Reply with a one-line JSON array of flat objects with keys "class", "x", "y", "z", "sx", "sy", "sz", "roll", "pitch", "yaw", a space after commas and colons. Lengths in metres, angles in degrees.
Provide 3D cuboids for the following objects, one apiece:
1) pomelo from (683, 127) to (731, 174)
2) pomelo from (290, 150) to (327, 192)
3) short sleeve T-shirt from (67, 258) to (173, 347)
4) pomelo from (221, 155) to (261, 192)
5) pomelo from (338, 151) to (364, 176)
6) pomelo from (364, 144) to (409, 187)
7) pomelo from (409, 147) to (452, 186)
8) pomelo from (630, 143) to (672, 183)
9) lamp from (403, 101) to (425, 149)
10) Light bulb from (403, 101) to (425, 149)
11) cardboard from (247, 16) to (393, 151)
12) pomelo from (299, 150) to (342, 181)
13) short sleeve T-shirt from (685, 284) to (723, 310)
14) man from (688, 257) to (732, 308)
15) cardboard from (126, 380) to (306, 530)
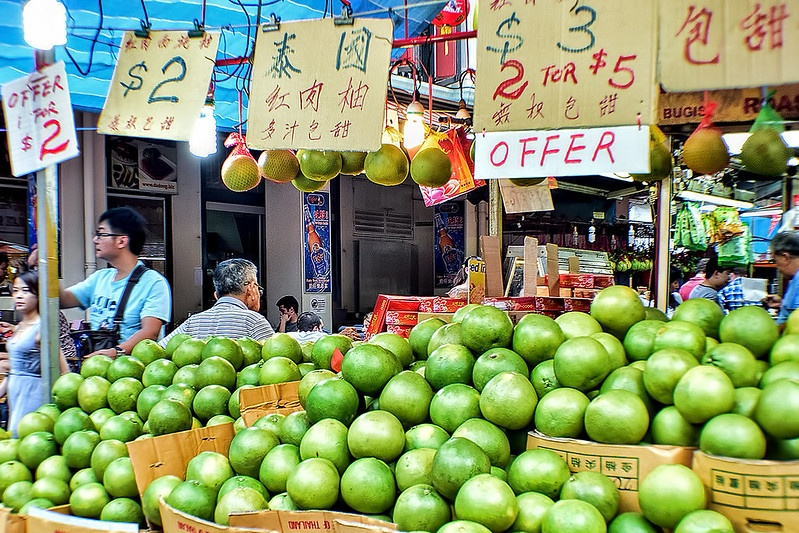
[{"class": "pomelo", "x": 1.806, "y": -0.674, "z": 3.785, "sx": 0.259, "sy": 0.332, "sz": 0.272, "roll": 0, "pitch": 7, "yaw": 17}, {"class": "pomelo", "x": -0.635, "y": -0.645, "z": 4.489, "sx": 0.241, "sy": 0.297, "sz": 0.241, "roll": -16, "pitch": 26, "yaw": -41}, {"class": "short sleeve T-shirt", "x": -2.187, "y": 0.268, "z": 4.868, "sx": 0.796, "sy": 0.800, "sz": 0.448, "roll": 1, "pitch": -13, "yaw": 20}, {"class": "pomelo", "x": -1.127, "y": -0.672, "z": 4.506, "sx": 0.251, "sy": 0.234, "sz": 0.237, "roll": -1, "pitch": 2, "yaw": -17}, {"class": "pomelo", "x": -0.313, "y": -0.688, "z": 4.191, "sx": 0.132, "sy": 0.133, "sz": 0.157, "roll": 5, "pitch": 1, "yaw": 4}, {"class": "pomelo", "x": -0.082, "y": -0.661, "z": 4.172, "sx": 0.269, "sy": 0.268, "sz": 0.261, "roll": 2, "pitch": -10, "yaw": -1}, {"class": "pomelo", "x": 0.204, "y": -0.668, "z": 4.177, "sx": 0.255, "sy": 0.267, "sz": 0.230, "roll": 0, "pitch": 2, "yaw": -3}, {"class": "pomelo", "x": 1.637, "y": -0.641, "z": 4.116, "sx": 0.254, "sy": 0.280, "sz": 0.273, "roll": 2, "pitch": 5, "yaw": -32}, {"class": "lamp", "x": 0.112, "y": -1.064, "z": 4.713, "sx": 0.163, "sy": 0.330, "sz": 0.241, "roll": 0, "pitch": 2, "yaw": 5}, {"class": "Light bulb", "x": 0.112, "y": -1.064, "z": 4.713, "sx": 0.163, "sy": 0.330, "sz": 0.241, "roll": 0, "pitch": 2, "yaw": 5}, {"class": "cardboard", "x": -0.446, "y": -1.030, "z": 3.564, "sx": 0.757, "sy": 0.693, "sz": 0.088, "roll": 2, "pitch": -3, "yaw": 17}, {"class": "pomelo", "x": -0.507, "y": -0.658, "z": 4.130, "sx": 0.202, "sy": 0.197, "sz": 0.202, "roll": -1, "pitch": 2, "yaw": -33}, {"class": "short sleeve T-shirt", "x": 2.568, "y": 0.237, "z": 5.278, "sx": 0.118, "sy": 0.220, "sz": 0.223, "roll": -1, "pitch": 5, "yaw": -19}, {"class": "man", "x": 3.328, "y": 0.158, "z": 6.715, "sx": 0.317, "sy": 0.606, "sz": 0.600, "roll": 4, "pitch": 0, "yaw": -1}, {"class": "cardboard", "x": -0.920, "y": 0.887, "z": 3.163, "sx": 0.576, "sy": 0.192, "sz": 0.598, "roll": -14, "pitch": 10, "yaw": -19}]
